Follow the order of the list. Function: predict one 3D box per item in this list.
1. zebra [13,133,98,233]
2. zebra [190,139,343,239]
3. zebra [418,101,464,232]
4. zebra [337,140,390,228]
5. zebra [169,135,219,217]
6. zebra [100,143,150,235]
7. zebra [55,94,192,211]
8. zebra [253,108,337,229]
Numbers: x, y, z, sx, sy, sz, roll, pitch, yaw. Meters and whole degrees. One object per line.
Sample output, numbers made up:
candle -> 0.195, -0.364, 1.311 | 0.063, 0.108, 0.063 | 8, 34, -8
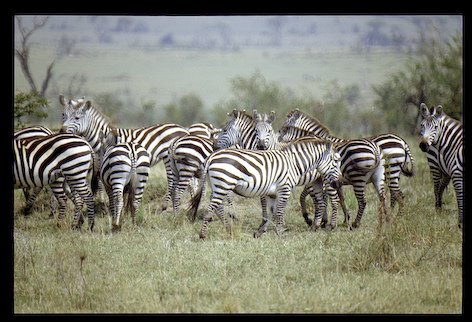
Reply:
zebra -> -3.258, 0.409, 12.186 | 1.492, 1.829, 0.781 | -2, 6, -21
zebra -> 0.585, 0.503, 12.330 | 2.705, 2.093, 0.820 | 1, 10, -8
zebra -> 3.844, -0.122, 12.475 | 0.760, 1.889, 0.507 | 2, 6, 18
zebra -> 2.412, 0.277, 13.509 | 0.684, 1.930, 2.563 | -6, 6, -7
zebra -> -0.818, 0.167, 14.089 | 0.637, 1.866, 2.548 | -1, 3, 20
zebra -> -2.380, 0.397, 13.237 | 0.761, 1.960, 2.485 | 3, 2, -23
zebra -> -2.048, -0.052, 13.434 | 3.072, 2.314, 0.706 | 4, -11, -27
zebra -> 1.111, 0.305, 12.499 | 2.548, 2.276, 0.721 | -1, 5, -41
